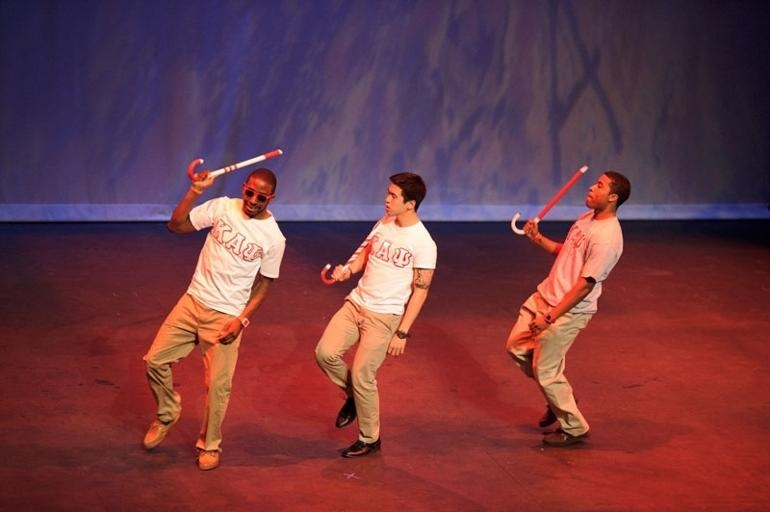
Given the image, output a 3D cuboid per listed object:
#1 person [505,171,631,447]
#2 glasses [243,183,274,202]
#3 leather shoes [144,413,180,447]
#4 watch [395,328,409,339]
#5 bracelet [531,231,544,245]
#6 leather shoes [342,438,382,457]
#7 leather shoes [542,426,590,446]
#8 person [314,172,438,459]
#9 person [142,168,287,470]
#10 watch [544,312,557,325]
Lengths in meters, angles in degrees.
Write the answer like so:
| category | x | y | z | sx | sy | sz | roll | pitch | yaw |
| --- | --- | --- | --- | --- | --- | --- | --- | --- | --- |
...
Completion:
| category | x | y | z | sx | sy | sz | roll | pitch | yaw |
| --- | --- | --- | --- | --- | --- | --- | --- | --- | --- |
| person | 1.434 | 0.383 | 4.866 | 0.772 | 2.111 | 0.705 | 11 | 14 | 11 |
| glasses | -0.885 | -0.440 | 4.376 | 0.212 | 0.104 | 0.105 | 7 | 13 | -5 |
| leather shoes | -1.662 | 1.305 | 4.675 | 0.091 | 0.269 | 0.100 | 34 | -14 | 20 |
| watch | 0.137 | 0.587 | 4.677 | 0.079 | 0.042 | 0.075 | 18 | -19 | 18 |
| bracelet | 1.310 | -0.143 | 5.230 | 0.133 | 0.148 | 0.159 | -3 | 9 | 14 |
| leather shoes | -0.174 | 1.435 | 4.703 | 0.313 | 0.129 | 0.106 | -1 | 7 | -21 |
| leather shoes | 1.428 | 1.392 | 4.836 | 0.312 | 0.119 | 0.145 | 1 | 4 | 6 |
| person | -0.096 | 0.398 | 4.734 | 0.674 | 2.078 | 0.698 | 17 | 16 | 32 |
| person | -1.282 | 0.434 | 4.518 | 0.812 | 2.055 | 0.579 | 13 | 15 | 17 |
| watch | 1.228 | 0.446 | 4.592 | 0.061 | 0.074 | 0.070 | 19 | 30 | 14 |
